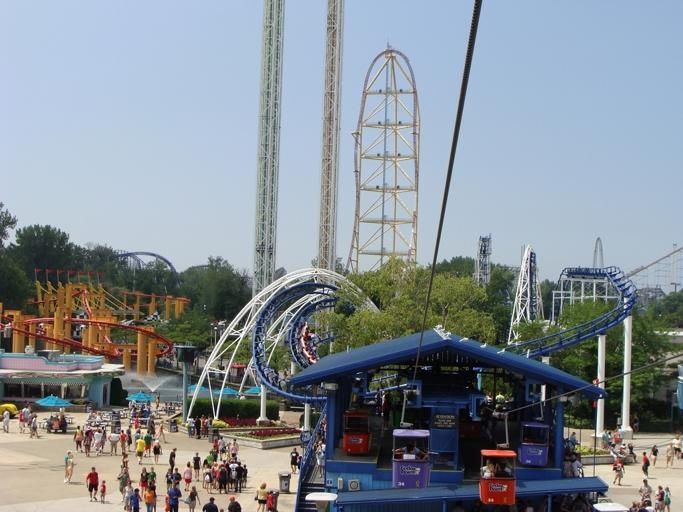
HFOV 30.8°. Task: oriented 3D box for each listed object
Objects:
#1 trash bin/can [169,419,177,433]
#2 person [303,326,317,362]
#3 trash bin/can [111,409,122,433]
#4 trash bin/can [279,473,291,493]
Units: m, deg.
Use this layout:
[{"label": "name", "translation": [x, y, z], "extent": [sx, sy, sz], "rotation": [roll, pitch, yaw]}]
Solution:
[{"label": "trash bin/can", "translation": [-10.407, 10.440, 76.674], "extent": [0.597, 0.935, 0.607], "rotation": [0, -2, -13]}, {"label": "person", "translation": [-1.994, 5.608, 77.343], "extent": [0.568, 2.749, 0.655], "rotation": [26, -54, -30]}, {"label": "trash bin/can", "translation": [-13.539, 9.911, 74.513], "extent": [0.836, 1.649, 0.854], "rotation": [0, 3, -6]}, {"label": "trash bin/can", "translation": [-2.897, 11.483, 63.094], "extent": [0.779, 1.120, 0.804], "rotation": [0, -5, -5]}]
